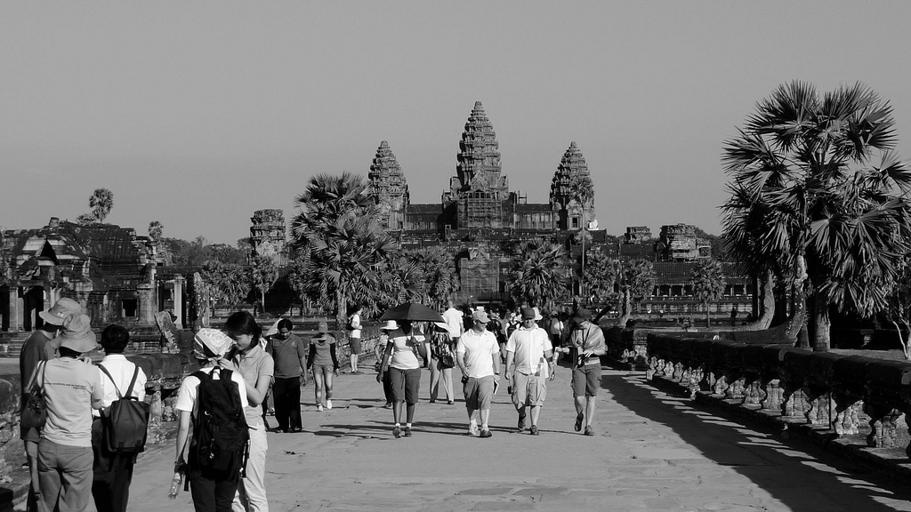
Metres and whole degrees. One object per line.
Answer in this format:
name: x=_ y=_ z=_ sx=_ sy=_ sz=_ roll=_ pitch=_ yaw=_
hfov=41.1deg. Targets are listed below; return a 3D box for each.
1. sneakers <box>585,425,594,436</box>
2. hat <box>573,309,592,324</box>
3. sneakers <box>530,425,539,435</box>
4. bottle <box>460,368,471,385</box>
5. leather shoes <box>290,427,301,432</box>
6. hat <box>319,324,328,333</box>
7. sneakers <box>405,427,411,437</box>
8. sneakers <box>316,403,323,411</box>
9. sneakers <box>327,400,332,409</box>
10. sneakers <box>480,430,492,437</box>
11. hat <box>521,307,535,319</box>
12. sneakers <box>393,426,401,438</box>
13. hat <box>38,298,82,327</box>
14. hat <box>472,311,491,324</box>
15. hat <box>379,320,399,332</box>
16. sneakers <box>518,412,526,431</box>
sneakers: x=2.886 y=3.750 z=26.178 sx=0.203 sy=0.207 sz=0.276 roll=-4 pitch=-5 yaw=40
hat: x=2.767 y=1.308 z=26.791 sx=0.273 sy=0.197 sz=0.394 roll=5 pitch=2 yaw=45
sneakers: x=1.677 y=3.764 z=26.252 sx=0.180 sy=0.189 sz=0.469 roll=0 pitch=-7 yaw=2
bottle: x=0.215 y=2.588 z=26.158 sx=0.047 sy=0.307 sz=0.243 roll=1 pitch=-4 yaw=-25
leather shoes: x=-3.543 y=3.841 z=26.873 sx=0.189 sy=0.042 sz=0.122 roll=4 pitch=8 yaw=1
hat: x=-3.258 y=1.741 z=29.347 sx=0.235 sy=0.210 sz=0.225 roll=-1 pitch=-2 yaw=30
sneakers: x=-1.041 y=3.796 z=26.309 sx=0.148 sy=0.189 sz=0.250 roll=-1 pitch=-4 yaw=5
sneakers: x=-3.395 y=3.755 z=30.062 sx=0.161 sy=0.150 sz=0.166 roll=-1 pitch=-15 yaw=0
sneakers: x=-3.157 y=3.683 z=30.101 sx=0.091 sy=0.232 sz=0.104 roll=-4 pitch=6 yaw=-5
sneakers: x=0.635 y=3.802 z=26.108 sx=0.239 sy=0.158 sz=0.310 roll=-1 pitch=-4 yaw=5
hat: x=1.548 y=1.213 z=26.041 sx=0.260 sy=0.269 sz=0.597 roll=-1 pitch=-4 yaw=5
sneakers: x=-1.287 y=3.804 z=26.220 sx=0.237 sy=0.282 sz=0.156 roll=1 pitch=-10 yaw=-7
hat: x=-6.612 y=0.959 z=20.415 sx=0.603 sy=0.199 sz=0.547 roll=-20 pitch=25 yaw=-37
hat: x=0.606 y=1.484 z=29.980 sx=0.315 sy=0.174 sz=0.470 roll=0 pitch=5 yaw=-16
hat: x=-1.853 y=1.937 z=33.537 sx=0.726 sy=0.359 sz=0.987 roll=0 pitch=-8 yaw=-8
sneakers: x=1.444 y=3.643 z=26.699 sx=0.155 sy=0.389 sz=0.170 roll=0 pitch=-30 yaw=1
